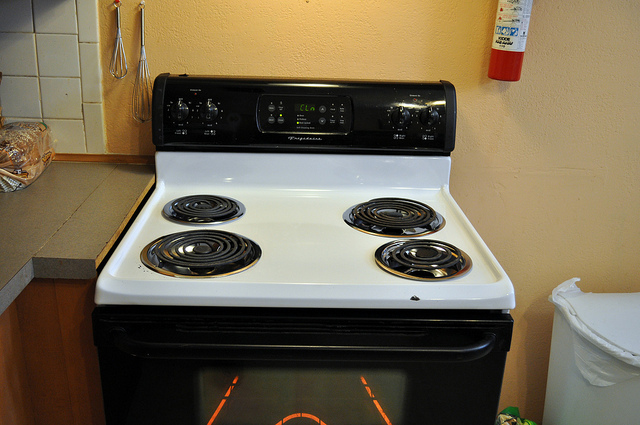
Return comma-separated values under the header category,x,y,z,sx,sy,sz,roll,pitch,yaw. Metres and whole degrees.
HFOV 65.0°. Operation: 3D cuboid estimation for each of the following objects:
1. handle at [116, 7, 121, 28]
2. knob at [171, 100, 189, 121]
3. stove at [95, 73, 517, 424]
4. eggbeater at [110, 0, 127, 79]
category,x,y,z,sx,sy,sz,roll,pitch,yaw
handle,-0.738,-0.713,1.834,0.017,0.068,0.015,-8,23,-19
knob,-0.484,-0.347,1.701,0.060,0.058,0.016,-3,8,-3
stove,-0.089,0.099,1.538,1.109,1.141,0.844,0,29,-2
eggbeater,-0.756,-0.626,1.852,0.067,0.256,0.033,-13,25,-29
